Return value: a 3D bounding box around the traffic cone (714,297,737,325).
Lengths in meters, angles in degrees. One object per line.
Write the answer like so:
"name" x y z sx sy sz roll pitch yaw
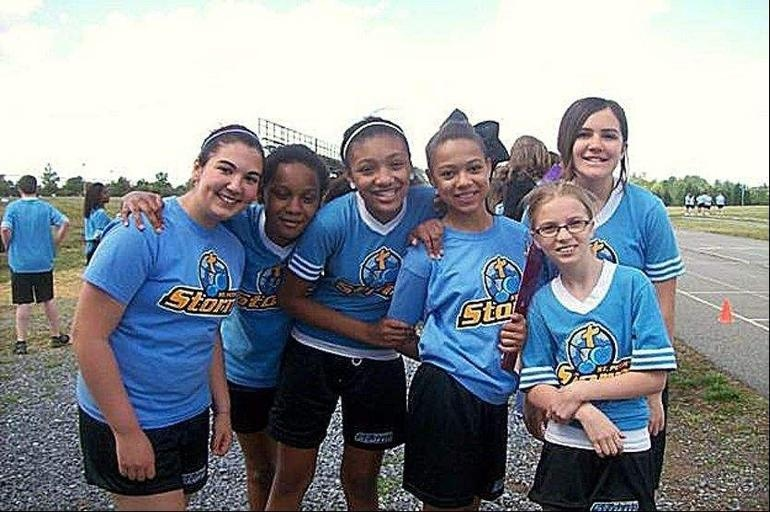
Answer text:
"traffic cone" 6.617 1.090 9.878 0.290 0.341 0.310 -6 16 9

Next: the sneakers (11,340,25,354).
"sneakers" -5.722 1.425 7.894 0.110 0.138 0.291 4 1 -33

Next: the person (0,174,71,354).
"person" -5.663 0.117 8.150 0.835 2.755 0.569 -4 5 -43

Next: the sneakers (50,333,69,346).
"sneakers" -5.391 1.377 8.440 0.130 0.161 0.344 2 11 13
